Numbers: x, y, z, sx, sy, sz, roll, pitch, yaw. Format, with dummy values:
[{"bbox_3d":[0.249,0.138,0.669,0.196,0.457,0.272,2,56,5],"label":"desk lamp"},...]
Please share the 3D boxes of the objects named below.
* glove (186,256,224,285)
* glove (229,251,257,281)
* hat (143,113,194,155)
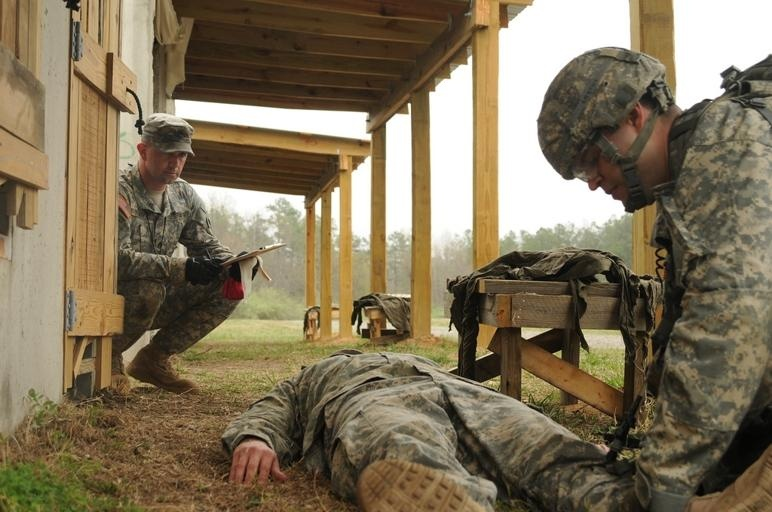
[{"bbox_3d":[-1.490,0.126,7.213,0.196,0.122,0.266,2,-4,-30],"label":"glove"},{"bbox_3d":[-1.189,0.083,7.310,0.185,0.095,0.266,-7,-32,-4],"label":"glove"},{"bbox_3d":[-1.782,-0.995,7.254,0.419,0.238,0.331,12,14,17],"label":"hat"}]
